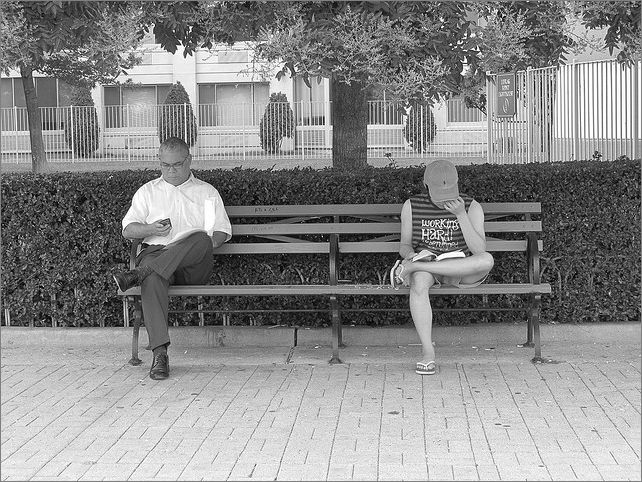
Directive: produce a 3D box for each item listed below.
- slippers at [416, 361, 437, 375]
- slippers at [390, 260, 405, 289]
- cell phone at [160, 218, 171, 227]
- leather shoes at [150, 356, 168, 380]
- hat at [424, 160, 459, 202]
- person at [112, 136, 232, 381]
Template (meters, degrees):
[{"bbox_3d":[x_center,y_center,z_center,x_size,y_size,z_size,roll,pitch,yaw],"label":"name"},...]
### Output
[{"bbox_3d":[0.856,1.024,7.357,0.176,0.117,0.117,-6,11,-11],"label":"slippers"},{"bbox_3d":[0.620,0.279,7.473,0.085,0.203,0.147,7,13,5],"label":"slippers"},{"bbox_3d":[-1.351,-0.168,7.778,0.098,0.069,0.156,-5,11,-8],"label":"cell phone"},{"bbox_3d":[-1.331,1.033,7.385,0.154,0.180,0.145,-6,11,-13],"label":"leather shoes"},{"bbox_3d":[0.994,-0.488,7.515,0.279,0.367,0.235,-3,11,7],"label":"hat"},{"bbox_3d":[-1.319,0.075,7.804,0.775,1.894,1.230,1,12,23],"label":"person"}]
